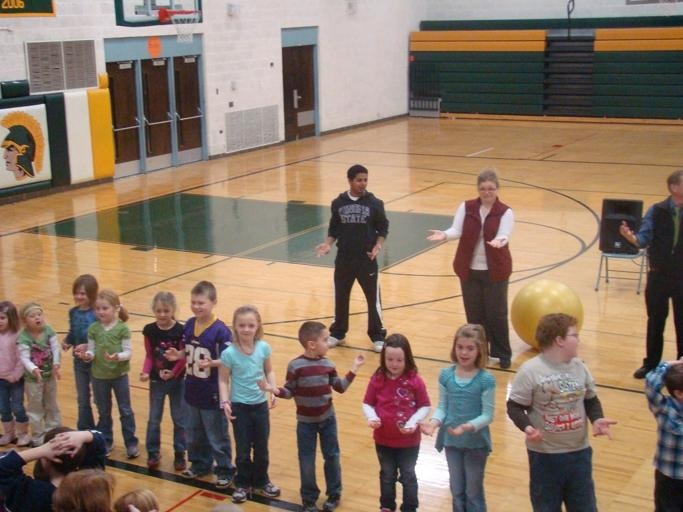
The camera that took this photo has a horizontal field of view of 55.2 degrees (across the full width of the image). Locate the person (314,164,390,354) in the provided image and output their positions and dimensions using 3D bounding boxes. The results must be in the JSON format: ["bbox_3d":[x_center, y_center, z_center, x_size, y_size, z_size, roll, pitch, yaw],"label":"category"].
[{"bbox_3d":[0.136,0.020,7.325,0.737,2.043,0.606,1,4,3],"label":"person"}]

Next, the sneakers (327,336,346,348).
[{"bbox_3d":[-0.103,0.974,7.473,0.127,0.123,0.334,3,2,40],"label":"sneakers"}]
